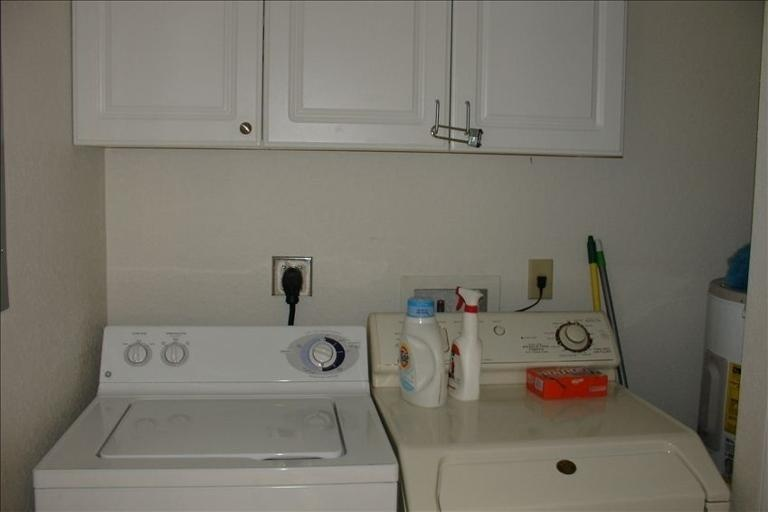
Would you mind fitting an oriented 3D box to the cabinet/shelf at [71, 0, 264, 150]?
[{"bbox_3d":[-0.650,-0.538,2.119,0.689,0.648,0.401,0,4,-3],"label":"cabinet/shelf"}]

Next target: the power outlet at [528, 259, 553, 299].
[{"bbox_3d":[0.587,0.083,2.320,0.104,0.157,0.019,-6,5,-15],"label":"power outlet"}]
